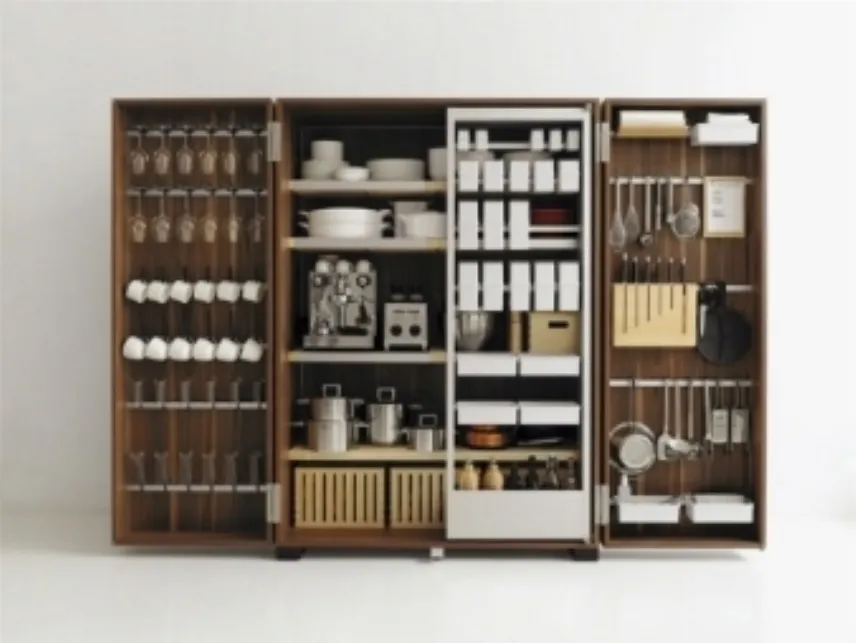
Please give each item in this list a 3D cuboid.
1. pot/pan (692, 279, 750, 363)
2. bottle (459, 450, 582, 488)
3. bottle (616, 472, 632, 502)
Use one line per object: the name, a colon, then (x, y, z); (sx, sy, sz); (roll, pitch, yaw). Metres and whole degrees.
pot/pan: (1.709, 0.010, 5.682); (0.274, 0.509, 0.093); (-1, 0, 5)
bottle: (0.523, 0.877, 5.760); (0.723, 0.197, 0.245); (-2, -1, 1)
bottle: (1.149, 0.962, 5.702); (0.085, 0.167, 0.109); (-2, -2, 13)
